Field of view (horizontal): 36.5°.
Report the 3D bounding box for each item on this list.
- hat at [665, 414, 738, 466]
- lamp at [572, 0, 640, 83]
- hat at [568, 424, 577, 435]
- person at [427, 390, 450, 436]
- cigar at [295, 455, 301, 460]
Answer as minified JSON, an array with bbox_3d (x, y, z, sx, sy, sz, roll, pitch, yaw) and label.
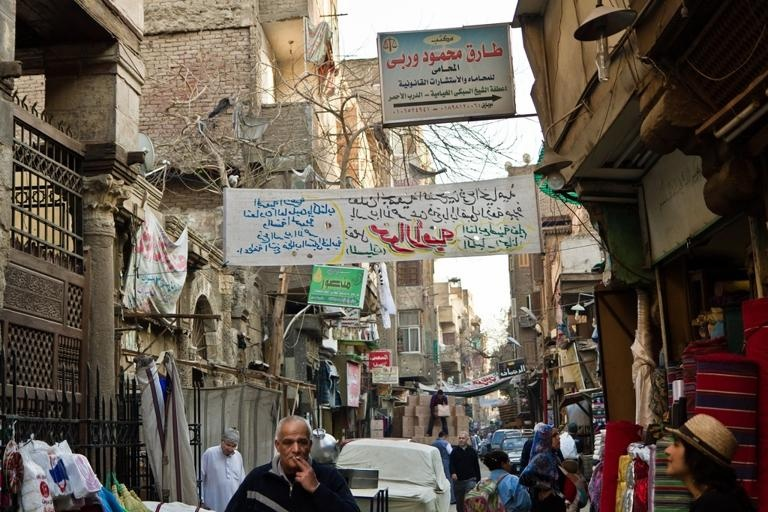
[{"bbox_3d":[3.282,1.935,11.927,0.557,0.220,0.483,35,10,16],"label":"hat"},{"bbox_3d":[2.923,-2.941,15.284,0.783,1.070,0.975,-4,-16,3],"label":"lamp"},{"bbox_3d":[3.837,3.506,23.449,0.158,0.199,0.223,12,-6,9],"label":"hat"},{"bbox_3d":[1.571,4.550,33.624,0.636,1.399,1.232,-4,-16,4],"label":"person"},{"bbox_3d":[-0.902,2.142,12.342,0.059,0.041,0.009,4,-16,-24],"label":"cigar"}]
